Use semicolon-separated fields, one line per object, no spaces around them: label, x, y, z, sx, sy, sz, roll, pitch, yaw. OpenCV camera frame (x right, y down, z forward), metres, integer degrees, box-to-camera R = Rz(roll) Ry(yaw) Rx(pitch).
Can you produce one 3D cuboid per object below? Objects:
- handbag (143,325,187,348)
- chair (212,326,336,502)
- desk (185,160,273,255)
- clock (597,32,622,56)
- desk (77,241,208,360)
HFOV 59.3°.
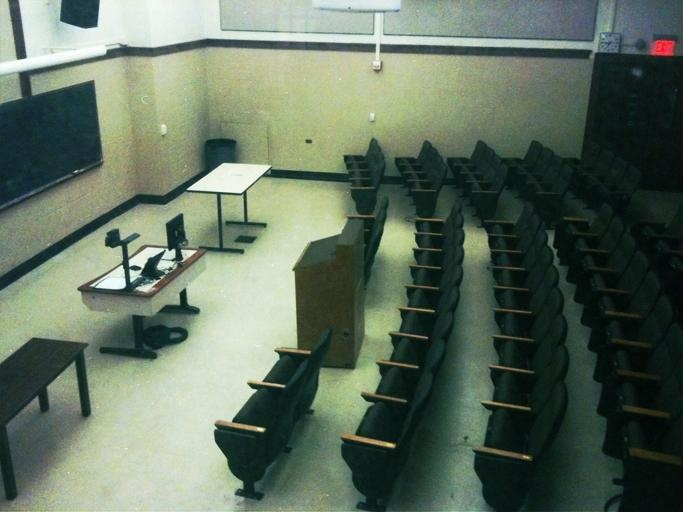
handbag;-2.017;0.923;6.837;0.319;0.075;0.307;2;21;-5
chair;-0.587;1.488;5.467;0.493;0.729;1.136;13;29;15
desk;-1.871;-0.747;9.913;0.857;1.011;1.595;3;27;4
clock;4.681;-3.681;10.422;0.446;0.403;0.166;1;25;17
desk;-2.263;0.484;7.054;0.861;0.732;1.520;7;20;7
